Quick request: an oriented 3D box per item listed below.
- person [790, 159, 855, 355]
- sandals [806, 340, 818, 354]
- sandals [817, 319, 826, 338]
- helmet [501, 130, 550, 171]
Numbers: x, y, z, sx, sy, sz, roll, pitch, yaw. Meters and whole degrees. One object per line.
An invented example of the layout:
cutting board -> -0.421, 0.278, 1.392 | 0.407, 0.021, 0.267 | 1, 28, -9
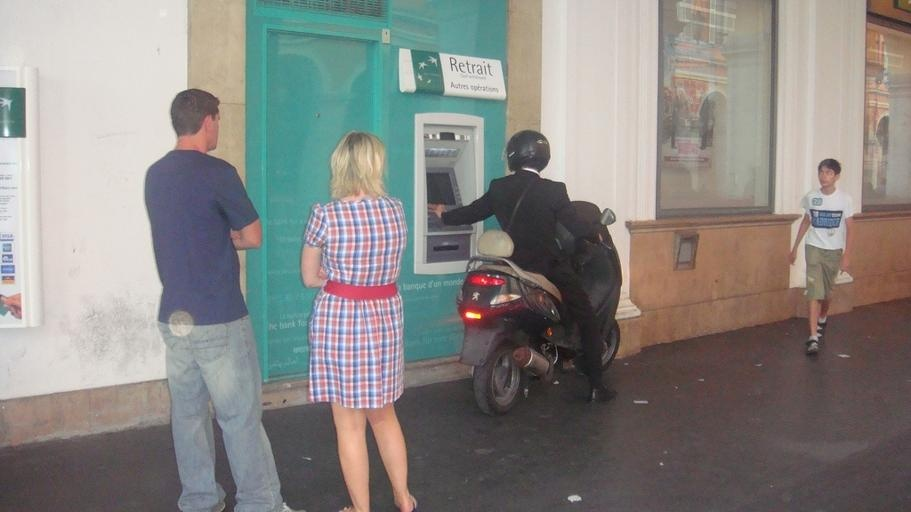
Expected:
person -> 4.847, -0.015, 9.632 | 0.693, 2.501, 0.725 | 0, 6, 18
sandals -> 4.645, 1.179, 9.517 | 0.098, 0.122, 0.295 | 2, 17, 15
sandals -> 5.034, 0.985, 10.059 | 0.105, 0.282, 0.114 | 10, 1, 24
helmet -> 0.792, -1.161, 8.070 | 0.416, 0.502, 0.535 | 1, -3, -32
